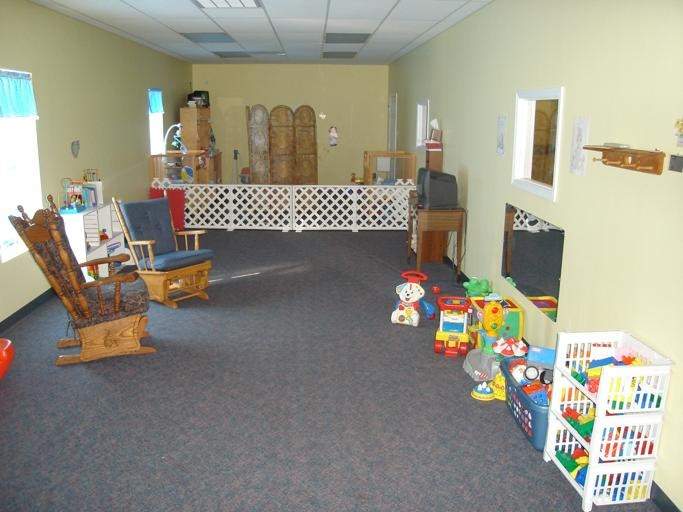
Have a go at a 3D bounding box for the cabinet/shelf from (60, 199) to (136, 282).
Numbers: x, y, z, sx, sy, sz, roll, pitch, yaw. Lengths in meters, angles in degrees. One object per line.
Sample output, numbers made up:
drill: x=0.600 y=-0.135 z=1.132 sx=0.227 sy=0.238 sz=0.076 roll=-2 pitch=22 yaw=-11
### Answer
cabinet/shelf: x=-2.870 y=-0.203 z=5.685 sx=0.256 sy=0.747 sz=0.833 roll=-9 pitch=25 yaw=2

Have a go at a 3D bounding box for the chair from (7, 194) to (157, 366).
chair: x=-2.371 y=0.221 z=4.666 sx=1.112 sy=1.475 sz=1.177 roll=7 pitch=16 yaw=22

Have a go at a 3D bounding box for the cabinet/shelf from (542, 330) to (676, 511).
cabinet/shelf: x=1.633 y=0.988 z=3.094 sx=0.539 sy=0.921 sz=0.631 roll=-5 pitch=18 yaw=-10

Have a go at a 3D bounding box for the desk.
desk: x=1.324 y=-0.293 z=6.752 sx=0.443 sy=0.722 sz=1.089 roll=-1 pitch=19 yaw=0

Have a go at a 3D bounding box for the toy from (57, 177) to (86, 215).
toy: x=-3.333 y=-0.768 z=6.045 sx=0.336 sy=0.559 sz=0.448 roll=1 pitch=6 yaw=-9

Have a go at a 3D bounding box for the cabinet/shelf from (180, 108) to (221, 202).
cabinet/shelf: x=-3.081 y=-2.358 z=10.722 sx=0.749 sy=1.774 sz=2.593 roll=-7 pitch=18 yaw=-13

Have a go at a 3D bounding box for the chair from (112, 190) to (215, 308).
chair: x=-2.155 y=-0.096 z=6.036 sx=1.030 sy=1.189 sz=1.010 roll=5 pitch=15 yaw=8

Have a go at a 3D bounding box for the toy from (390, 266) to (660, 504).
toy: x=1.165 y=0.923 z=3.077 sx=0.829 sy=1.548 sz=0.855 roll=1 pitch=24 yaw=-11
